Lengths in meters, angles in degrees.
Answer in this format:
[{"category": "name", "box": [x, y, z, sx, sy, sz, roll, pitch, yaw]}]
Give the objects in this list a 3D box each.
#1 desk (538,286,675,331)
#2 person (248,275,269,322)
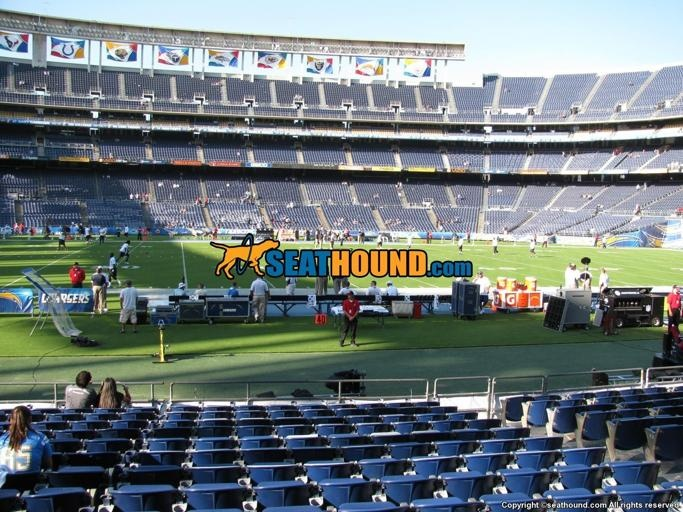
[{"category": "desk", "box": [13.147, 2.576, 50.491, 5.506, 1.989, 2.649, -1, 1, 12]}, {"category": "person", "box": [-4.054, 2.158, 50.469, 0.874, 2.308, 1.305, -2, 1, -4]}]
